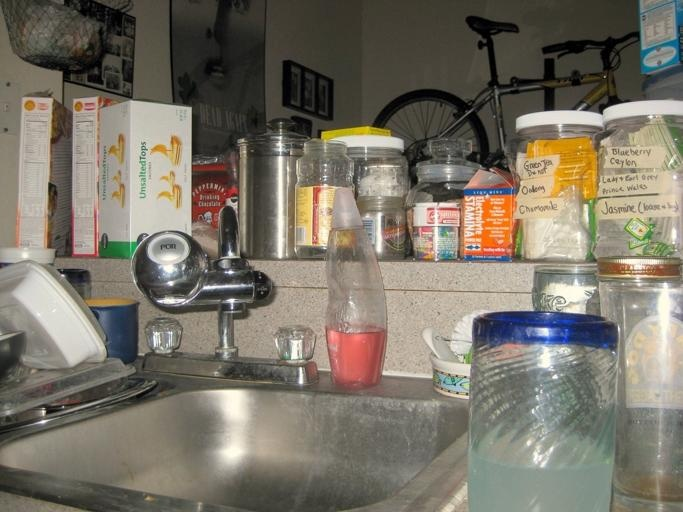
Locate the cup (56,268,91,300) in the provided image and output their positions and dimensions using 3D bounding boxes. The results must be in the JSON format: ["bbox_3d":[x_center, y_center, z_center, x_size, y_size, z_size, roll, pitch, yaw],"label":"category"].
[{"bbox_3d":[-0.505,0.051,1.110,0.051,0.058,0.131,-1,3,-22],"label":"cup"}]

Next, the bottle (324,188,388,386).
[{"bbox_3d":[0.023,0.049,0.949,0.101,0.318,0.098,0,3,0],"label":"bottle"}]

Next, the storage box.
[{"bbox_3d":[-0.456,-0.166,1.393,0.331,0.438,0.449,2,2,22],"label":"storage box"}]

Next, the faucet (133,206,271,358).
[{"bbox_3d":[-0.211,0.045,0.973,0.192,0.258,0.254,0,3,0],"label":"faucet"}]

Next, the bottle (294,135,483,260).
[{"bbox_3d":[0.082,-0.110,1.083,0.267,0.291,0.273,0,-3,4],"label":"bottle"}]
